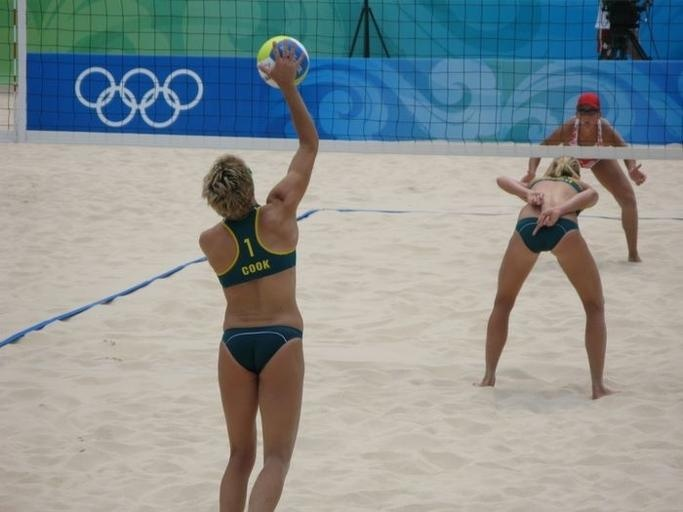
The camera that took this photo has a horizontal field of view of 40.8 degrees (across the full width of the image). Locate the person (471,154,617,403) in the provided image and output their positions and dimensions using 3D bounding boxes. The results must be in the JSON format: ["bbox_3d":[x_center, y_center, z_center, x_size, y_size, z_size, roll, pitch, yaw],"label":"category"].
[{"bbox_3d":[1.734,0.226,7.573,1.066,1.746,0.587,2,15,15],"label":"person"}]

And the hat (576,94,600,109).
[{"bbox_3d":[2.284,-1.422,8.409,0.185,0.137,0.186,-2,14,-2],"label":"hat"}]
